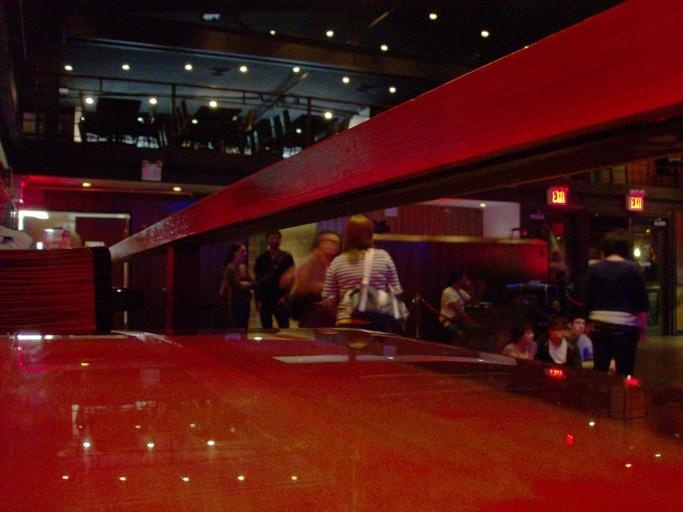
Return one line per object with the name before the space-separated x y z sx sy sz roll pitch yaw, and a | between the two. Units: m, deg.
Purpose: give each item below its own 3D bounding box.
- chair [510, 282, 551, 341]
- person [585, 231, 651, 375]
chair | 1.523 0.445 4.882 0.423 0.466 0.266 7 -8 6
person | 1.280 0.304 2.798 0.291 0.813 0.235 2 11 24
